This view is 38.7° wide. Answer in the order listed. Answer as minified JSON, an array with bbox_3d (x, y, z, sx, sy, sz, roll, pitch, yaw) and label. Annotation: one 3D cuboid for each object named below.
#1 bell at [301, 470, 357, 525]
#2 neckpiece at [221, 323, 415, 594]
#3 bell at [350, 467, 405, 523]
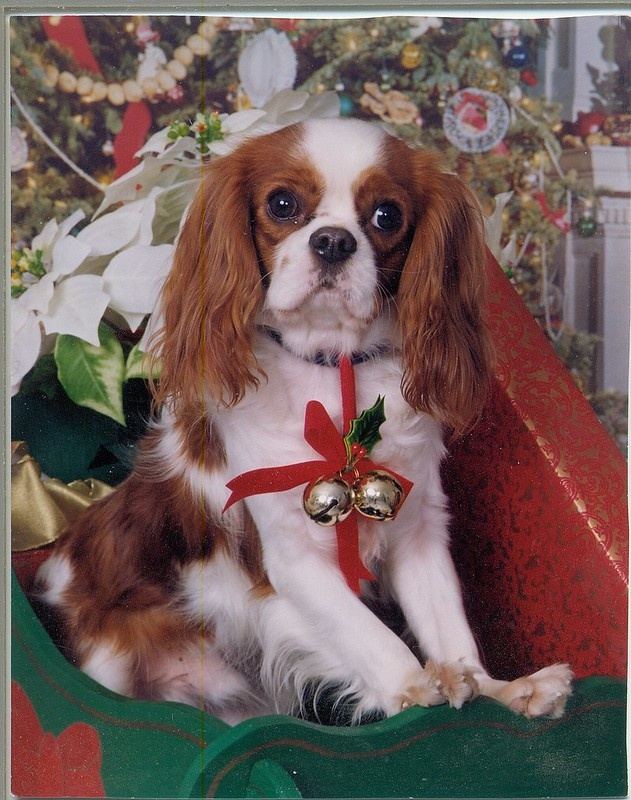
[{"bbox_3d":[0.009,0.099,0.947,0.047,0.047,0.054,-29,27,7],"label":"bell"},{"bbox_3d":[-0.005,0.073,0.969,0.209,0.278,0.144,-8,24,5],"label":"neckpiece"},{"bbox_3d":[0.066,0.096,0.939,0.055,0.064,0.057,-5,27,4],"label":"bell"}]
